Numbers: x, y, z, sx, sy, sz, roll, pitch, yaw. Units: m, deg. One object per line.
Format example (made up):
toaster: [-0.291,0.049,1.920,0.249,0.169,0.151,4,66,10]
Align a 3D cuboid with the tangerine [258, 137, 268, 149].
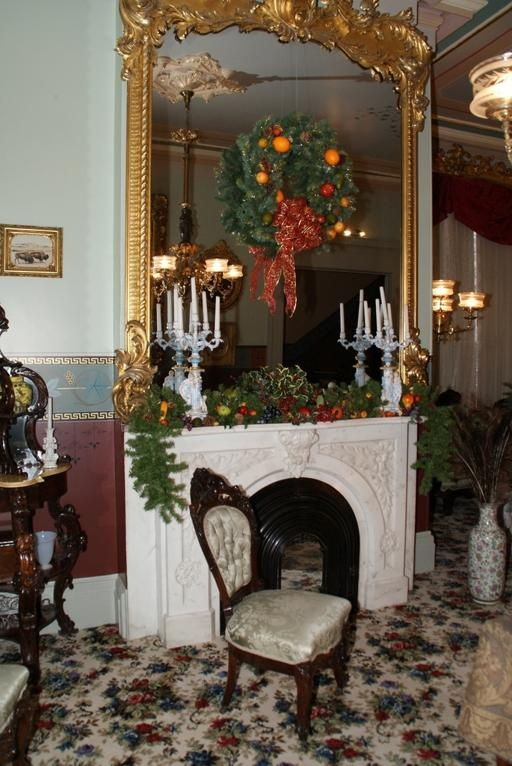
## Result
tangerine: [0.025,-0.849,2.310,0.035,0.041,0.034,-10,14,-39]

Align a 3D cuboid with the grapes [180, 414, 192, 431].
grapes: [-0.350,0.200,3.283,0.050,0.079,0.046,0,3,-1]

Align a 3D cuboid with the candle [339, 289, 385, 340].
candle: [0.628,-0.393,3.860,0.279,0.293,0.294,-1,4,10]

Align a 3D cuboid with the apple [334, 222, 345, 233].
apple: [0.319,-0.586,2.465,0.037,0.044,0.038,-1,-6,9]

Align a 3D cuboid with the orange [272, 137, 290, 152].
orange: [0.088,-0.844,2.298,0.060,0.066,0.047,0,3,7]

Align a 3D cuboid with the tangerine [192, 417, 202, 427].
tangerine: [-0.300,0.199,3.292,0.039,0.026,0.044,2,-22,-6]

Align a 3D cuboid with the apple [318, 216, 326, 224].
apple: [0.240,-0.594,2.373,0.024,0.029,0.025,-1,46,35]

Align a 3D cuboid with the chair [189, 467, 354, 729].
chair: [0.064,0.877,3.263,0.930,1.392,0.808,0,2,25]

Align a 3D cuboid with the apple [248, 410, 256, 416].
apple: [-0.020,0.157,3.393,0.032,0.031,0.033,1,12,16]

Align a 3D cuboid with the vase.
vase: [1.389,1.013,3.880,0.217,0.578,0.152,1,3,20]

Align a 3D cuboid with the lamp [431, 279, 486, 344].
lamp: [1.991,-0.740,6.378,0.467,0.647,1.956,1,3,17]

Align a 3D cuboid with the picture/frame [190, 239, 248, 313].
picture/frame: [-0.200,-0.555,3.327,0.323,0.434,0.023,15,36,-1]

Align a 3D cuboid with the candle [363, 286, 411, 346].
candle: [0.743,-0.393,4.012,0.348,0.375,0.347,-5,1,-2]

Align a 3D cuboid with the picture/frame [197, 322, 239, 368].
picture/frame: [-0.210,-0.207,3.399,0.239,0.269,0.034,-1,13,-23]

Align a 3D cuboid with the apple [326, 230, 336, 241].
apple: [0.290,-0.562,2.468,0.043,0.050,0.042,-3,8,-15]

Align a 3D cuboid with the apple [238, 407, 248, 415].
apple: [-0.069,0.144,3.375,0.044,0.043,0.023,-22,5,-16]

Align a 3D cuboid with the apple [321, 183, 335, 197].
apple: [0.260,-0.695,2.351,0.048,0.048,0.048,-10,6,13]

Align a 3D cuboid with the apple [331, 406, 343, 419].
apple: [0.444,0.166,3.573,0.059,0.060,0.080,0,3,5]

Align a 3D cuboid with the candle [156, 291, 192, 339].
candle: [-0.384,-0.353,3.362,0.222,0.316,0.224,2,7,8]

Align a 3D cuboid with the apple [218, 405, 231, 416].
apple: [-0.167,0.145,3.353,0.070,0.056,0.048,0,3,-7]

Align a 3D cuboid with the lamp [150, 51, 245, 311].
lamp: [-0.370,-1.049,3.459,0.648,1.198,0.574,-3,6,-27]
